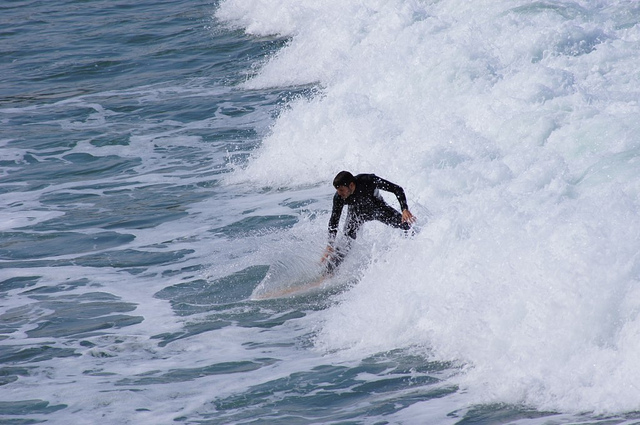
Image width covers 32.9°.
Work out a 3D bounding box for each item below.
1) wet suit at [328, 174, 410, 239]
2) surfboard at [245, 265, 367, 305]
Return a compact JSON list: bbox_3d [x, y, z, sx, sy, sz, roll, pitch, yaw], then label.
[{"bbox_3d":[0.925,-0.091,20.189,1.374,0.882,1.136,5,77,-2],"label":"wet suit"},{"bbox_3d":[-0.191,1.380,20.136,2.533,0.206,0.220,-11,63,-3],"label":"surfboard"}]
